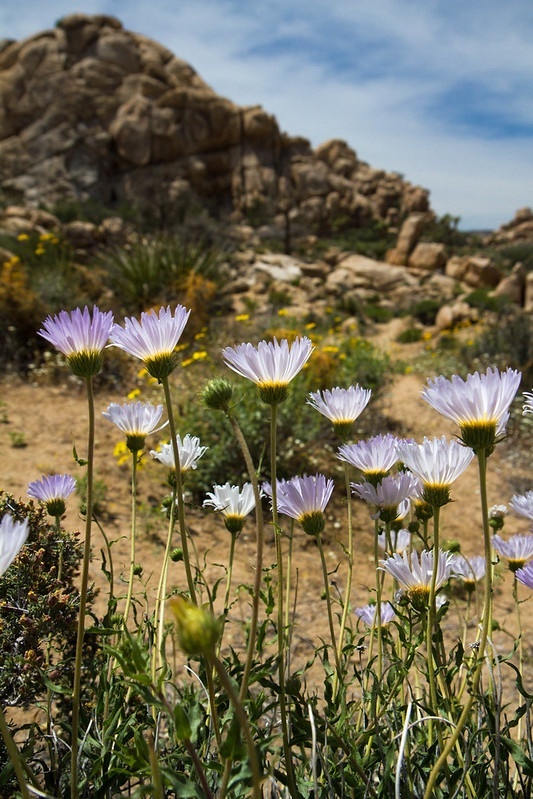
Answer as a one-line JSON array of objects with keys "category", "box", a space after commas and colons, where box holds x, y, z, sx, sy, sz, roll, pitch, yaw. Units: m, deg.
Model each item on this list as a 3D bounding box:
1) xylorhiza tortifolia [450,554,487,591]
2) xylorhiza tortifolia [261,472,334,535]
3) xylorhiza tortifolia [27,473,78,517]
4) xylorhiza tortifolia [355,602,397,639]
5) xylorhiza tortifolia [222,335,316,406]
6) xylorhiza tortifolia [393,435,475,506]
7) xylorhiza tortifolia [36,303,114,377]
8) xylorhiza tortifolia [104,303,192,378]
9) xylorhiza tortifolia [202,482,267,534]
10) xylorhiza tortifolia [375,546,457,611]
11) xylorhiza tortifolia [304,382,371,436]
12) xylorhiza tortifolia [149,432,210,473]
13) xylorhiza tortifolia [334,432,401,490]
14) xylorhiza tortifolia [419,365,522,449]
[{"category": "xylorhiza tortifolia", "box": [0.950, 0.806, 5.898, 0.203, 0.229, 0.214, -6, -11, 11]}, {"category": "xylorhiza tortifolia", "box": [0.185, 0.492, 5.474, 0.319, 0.353, 0.296, -6, -13, 27]}, {"category": "xylorhiza tortifolia", "box": [-0.973, 0.433, 5.726, 0.200, 0.214, 0.229, 5, -36, -9]}, {"category": "xylorhiza tortifolia", "box": [0.494, 1.008, 5.717, 0.148, 0.074, 0.150, 5, -23, -32]}, {"category": "xylorhiza tortifolia", "box": [0.026, -0.130, 5.313, 0.372, 0.305, 0.384, -1, 6, 7]}, {"category": "xylorhiza tortifolia", "box": [0.706, 0.306, 5.300, 0.313, 0.280, 0.232, 6, 6, 22]}, {"category": "xylorhiza tortifolia", "box": [-0.776, -0.243, 5.262, 0.299, 0.299, 0.325, -10, -12, 7]}, {"category": "xylorhiza tortifolia", "box": [-0.490, -0.269, 5.360, 0.294, 0.308, 0.308, -29, 2, -4]}, {"category": "xylorhiza tortifolia", "box": [-0.167, 0.472, 5.542, 0.215, 0.215, 0.251, 4, 5, -2]}, {"category": "xylorhiza tortifolia", "box": [0.668, 0.777, 5.413, 0.254, 0.262, 0.266, 3, -8, 1]}, {"category": "xylorhiza tortifolia", "box": [0.340, 0.049, 5.667, 0.223, 0.198, 0.231, -1, -1, 39]}, {"category": "xylorhiza tortifolia", "box": [-0.375, 0.243, 5.629, 0.204, 0.125, 0.200, -4, -3, -29]}, {"category": "xylorhiza tortifolia", "box": [0.481, 0.283, 5.523, 0.214, 0.181, 0.224, -3, -10, 23]}, {"category": "xylorhiza tortifolia", "box": [0.851, 0.027, 5.166, 0.336, 0.330, 0.346, -14, -21, 35]}]
